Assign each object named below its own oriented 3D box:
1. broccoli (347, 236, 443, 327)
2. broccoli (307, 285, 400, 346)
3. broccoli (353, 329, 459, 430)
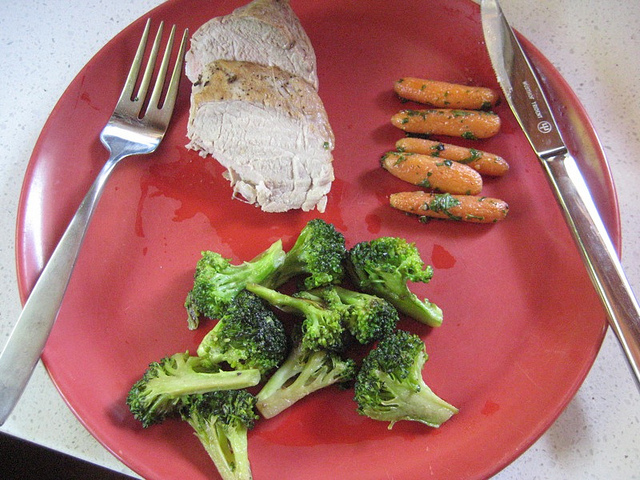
[{"bbox_3d":[0.332,0.176,2.853,0.320,0.257,0.451,-24,56,-18],"label":"broccoli"},{"bbox_3d":[0.236,0.388,2.877,0.126,0.314,0.200,22,62,-6],"label":"broccoli"},{"bbox_3d":[0.360,0.660,2.698,0.407,0.255,0.388,32,65,20],"label":"broccoli"}]
